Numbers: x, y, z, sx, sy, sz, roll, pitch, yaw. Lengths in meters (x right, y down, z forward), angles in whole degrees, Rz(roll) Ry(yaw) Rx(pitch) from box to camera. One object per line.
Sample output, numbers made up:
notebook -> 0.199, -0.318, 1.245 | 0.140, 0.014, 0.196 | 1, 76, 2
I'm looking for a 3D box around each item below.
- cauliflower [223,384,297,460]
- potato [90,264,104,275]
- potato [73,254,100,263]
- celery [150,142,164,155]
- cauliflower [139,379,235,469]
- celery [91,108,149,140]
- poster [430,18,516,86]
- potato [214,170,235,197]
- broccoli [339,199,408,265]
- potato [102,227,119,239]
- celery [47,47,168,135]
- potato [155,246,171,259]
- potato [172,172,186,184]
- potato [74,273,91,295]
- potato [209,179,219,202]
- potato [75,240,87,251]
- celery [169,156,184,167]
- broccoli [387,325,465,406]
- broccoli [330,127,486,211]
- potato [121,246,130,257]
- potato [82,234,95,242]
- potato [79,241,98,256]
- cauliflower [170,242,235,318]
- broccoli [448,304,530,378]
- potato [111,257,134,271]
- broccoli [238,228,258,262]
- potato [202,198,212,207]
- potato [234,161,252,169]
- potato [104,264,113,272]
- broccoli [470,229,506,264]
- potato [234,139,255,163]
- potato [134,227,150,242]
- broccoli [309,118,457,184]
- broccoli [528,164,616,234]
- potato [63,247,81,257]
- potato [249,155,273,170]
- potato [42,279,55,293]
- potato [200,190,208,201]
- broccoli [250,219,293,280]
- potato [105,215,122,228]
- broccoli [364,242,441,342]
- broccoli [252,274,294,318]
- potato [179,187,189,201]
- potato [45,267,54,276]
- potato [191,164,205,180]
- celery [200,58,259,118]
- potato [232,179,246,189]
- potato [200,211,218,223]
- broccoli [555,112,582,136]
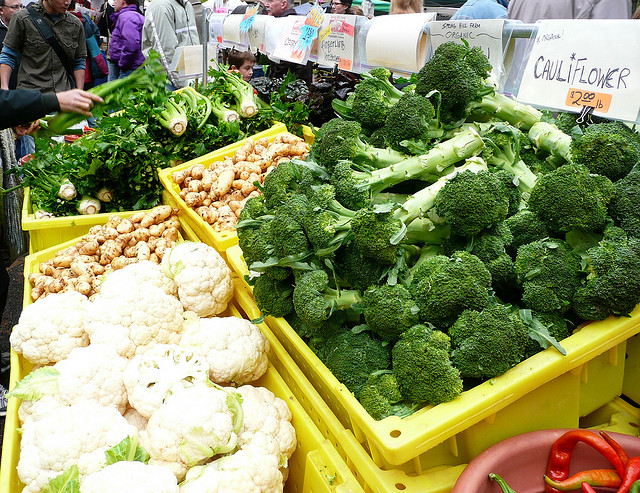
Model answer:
cauliflower -> -0.241, 0.714, 1.905 | 0.291, 0.142, 0.321 | 27, 30, -19
potato -> -1.460, 0.140, 3.030 | 0.057, 0.036, 0.067 | -6, 37, -44
potato -> -1.585, 0.082, 3.117 | 0.093, 0.044, 0.073 | -9, -7, 0
celery -> -1.279, -0.768, 3.566 | 0.085, 0.083, 0.023 | 7, -13, -34
cauliflower -> -0.510, 0.682, 1.736 | 0.284, 0.304, 0.155 | 39, 26, -22
celery -> -1.471, -0.949, 3.423 | 0.312, 0.076, 0.253 | -8, 4, -13
poster -> 0.718, -0.902, 2.155 | 0.435, 0.311, 0.143 | 30, 53, 32
potato -> -0.700, -0.464, 3.378 | 0.101, 0.068, 0.204 | 20, 53, 4
broccoli -> 0.217, -0.053, 1.727 | 0.200, 0.233, 0.124 | -4, 21, 9
potato -> -1.456, -0.094, 3.191 | 0.090, 0.071, 0.053 | 10, -1, 3
celery -> -1.769, -1.262, 3.891 | 1.044, 0.552, 0.569 | -29, 21, -17
potato -> -1.055, 0.027, 3.071 | 0.052, 0.094, 0.097 | 12, 11, -29
potato -> -1.067, -0.512, 3.477 | 0.098, 0.091, 0.062 | -3, 27, -13
potato -> -1.512, 0.228, 2.923 | 0.087, 0.052, 0.133 | 4, 42, -16
potato -> -0.788, -0.407, 3.367 | 0.042, 0.113, 0.119 | 11, -9, -28
potato -> -1.660, -0.010, 3.207 | 0.095, 0.037, 0.067 | -30, 40, -3
celery -> -1.152, -0.685, 3.699 | 0.043, 0.072, 0.138 | 17, 29, 24
broccoli -> 0.372, 0.411, 1.606 | 0.249, 0.242, 0.083 | 52, 8, 37
broccoli -> 0.318, -0.309, 1.955 | 0.362, 0.227, 0.670 | -7, 0, -44
potato -> -1.352, 0.026, 3.198 | 0.020, 0.056, 0.041 | 25, 11, -17
potato -> -1.614, -0.057, 3.206 | 0.072, 0.022, 0.054 | -5, 34, 32
potato -> -1.569, 0.006, 3.160 | 0.123, 0.070, 0.062 | -24, 9, 1
cauliflower -> -0.610, 0.150, 2.448 | 0.396, 0.198, 0.300 | 38, -4, -17
broccoli -> 0.570, 0.319, 1.581 | 0.249, 0.208, 0.161 | 12, 28, 16
potato -> -1.309, 0.113, 3.082 | 0.144, 0.062, 0.104 | -12, 19, -2
broccoli -> -0.367, -0.005, 2.291 | 0.077, 0.148, 0.118 | -12, -6, -1
potato -> -0.816, -0.313, 3.333 | 0.062, 0.056, 0.023 | 15, -20, -24
potato -> -0.604, -0.633, 3.551 | 0.070, 0.022, 0.078 | 0, 20, 36
potato -> -1.433, 0.134, 3.102 | 0.043, 0.015, 0.032 | -29, -18, 23
broccoli -> 0.631, 0.000, 1.780 | 0.112, 0.075, 0.135 | -23, 52, -12
potato -> -0.601, -0.759, 3.687 | 0.198, 0.060, 0.113 | -47, 15, -25
potato -> -1.246, -0.088, 3.214 | 0.089, 0.048, 0.085 | -21, 53, 12
broccoli -> 0.374, -0.444, 1.965 | 0.275, 0.196, 0.545 | 8, 21, -27
broccoli -> 0.916, -0.198, 1.706 | 0.254, 0.285, 0.133 | -38, 56, 5
potato -> -1.705, 0.038, 3.156 | 0.070, 0.020, 0.067 | -13, 37, -30
potato -> -0.449, -0.645, 3.572 | 0.158, 0.082, 0.049 | -20, -7, -13
potato -> -1.764, 0.246, 2.983 | 0.078, 0.070, 0.021 | -12, -19, 11
potato -> -0.842, -0.369, 3.349 | 0.031, 0.059, 0.060 | 21, 52, 7
broccoli -> -0.236, 0.003, 2.132 | 0.206, 0.250, 0.124 | -25, 6, -5
potato -> -1.464, -0.188, 3.282 | 0.079, 0.045, 0.112 | 2, 30, 25
broccoli -> 0.325, 0.179, 1.854 | 0.219, 0.164, 0.373 | 39, 53, 6
broccoli -> -0.212, 0.214, 2.179 | 0.201, 0.168, 0.107 | -39, 1, 43
potato -> -0.991, -0.387, 3.352 | 0.073, 0.035, 0.087 | -25, 34, 41
potato -> -1.809, 0.170, 3.073 | 0.039, 0.038, 0.050 | 6, 8, -4
potato -> -0.920, -0.567, 3.481 | 0.108, 0.049, 0.104 | -24, 41, 9
celery -> -0.810, -1.456, 4.215 | 0.373, 0.216, 0.653 | -19, 53, -27
potato -> -0.607, -0.469, 3.457 | 0.074, 0.039, 0.072 | -25, 16, -34
potato -> -0.750, -0.213, 3.107 | 0.086, 0.081, 0.030 | -5, -19, -14
broccoli -> 1.133, -0.570, 2.100 | 0.103, 0.103, 0.051 | 5, -11, 23
